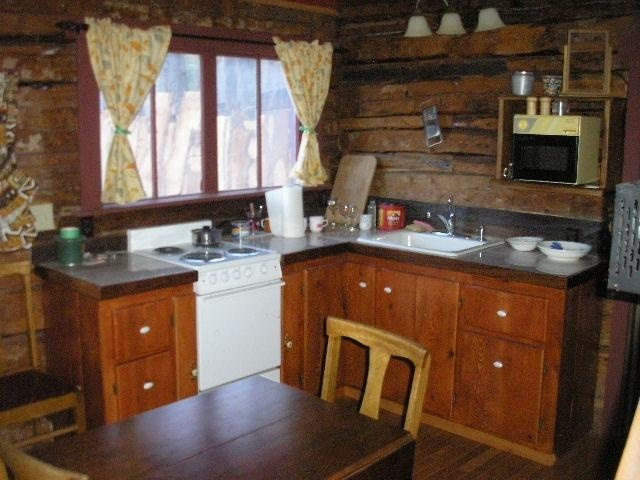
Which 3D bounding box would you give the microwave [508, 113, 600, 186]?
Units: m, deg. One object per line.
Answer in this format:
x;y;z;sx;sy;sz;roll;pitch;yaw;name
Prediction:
1.601;-0.621;3.615;0.354;0.433;0.490;-15;19;-34;microwave

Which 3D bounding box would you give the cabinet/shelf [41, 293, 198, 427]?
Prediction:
-1.163;0.742;3.357;0.558;0.892;0.609;-6;5;-33;cabinet/shelf

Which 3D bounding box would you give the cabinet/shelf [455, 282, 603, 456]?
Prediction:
1.336;0.791;3.473;0.921;1.080;0.466;1;11;11;cabinet/shelf

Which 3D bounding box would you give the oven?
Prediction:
-0.704;0.516;3.705;0.661;0.842;0.629;-8;13;-42;oven

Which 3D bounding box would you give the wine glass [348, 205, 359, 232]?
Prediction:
0.275;-0.192;4.540;0.091;0.203;0.171;0;11;8;wine glass

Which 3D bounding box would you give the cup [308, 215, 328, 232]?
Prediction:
-0.002;-0.139;4.436;0.122;0.130;0.204;8;14;40;cup

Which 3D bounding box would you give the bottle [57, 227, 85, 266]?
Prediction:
-1.547;0.032;3.342;0.174;0.214;0.172;2;13;-3;bottle

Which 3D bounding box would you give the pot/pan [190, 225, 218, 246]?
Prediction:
-0.807;-0.031;3.742;0.145;0.094;0.138;3;5;43;pot/pan

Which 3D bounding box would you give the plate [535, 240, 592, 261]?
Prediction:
1.616;0.075;3.595;0.311;0.092;0.397;3;11;21;plate

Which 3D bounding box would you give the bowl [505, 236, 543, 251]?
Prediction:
1.453;0.028;3.842;0.234;0.069;0.330;3;12;23;bowl

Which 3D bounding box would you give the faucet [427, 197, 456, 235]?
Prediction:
0.980;-0.200;4.296;0.198;0.281;0.323;-1;11;1;faucet

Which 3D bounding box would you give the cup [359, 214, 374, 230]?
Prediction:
0.379;-0.149;4.496;0.122;0.131;0.120;1;8;0;cup
